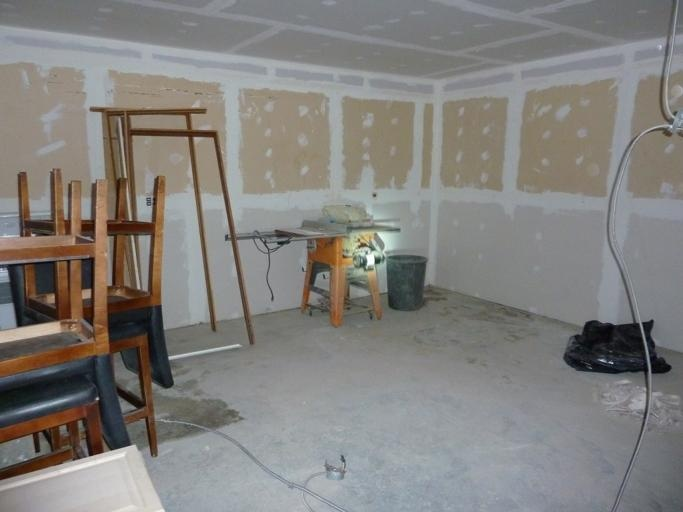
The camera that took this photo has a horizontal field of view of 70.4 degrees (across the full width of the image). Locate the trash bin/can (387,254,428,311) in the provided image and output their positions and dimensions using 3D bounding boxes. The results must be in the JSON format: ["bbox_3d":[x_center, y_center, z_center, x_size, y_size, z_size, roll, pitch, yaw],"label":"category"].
[{"bbox_3d":[0.626,0.255,5.271,0.515,0.551,0.531,-2,12,-13],"label":"trash bin/can"}]
